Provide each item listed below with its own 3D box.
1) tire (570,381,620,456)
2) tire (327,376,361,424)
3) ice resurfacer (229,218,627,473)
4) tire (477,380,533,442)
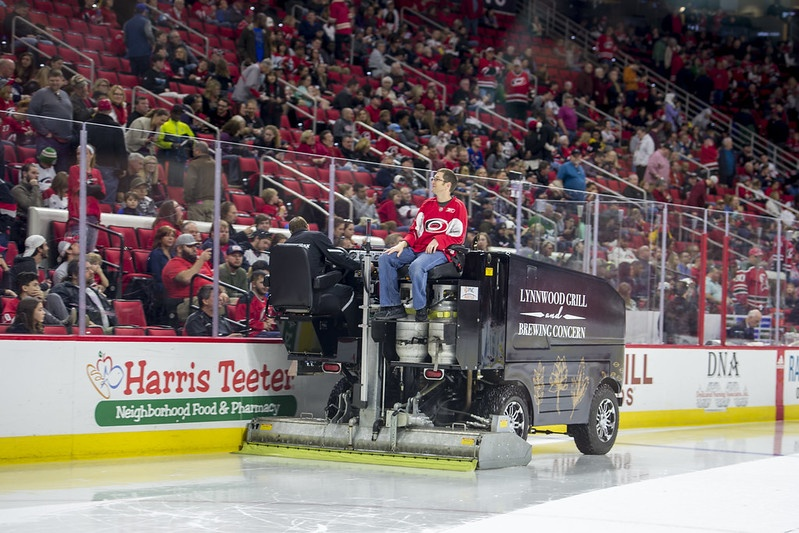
[{"bbox_3d":[3.140,2.504,23.042,0.448,1.179,1.238,3,4,37],"label":"tire"},{"bbox_3d":[-0.854,2.155,22.172,0.280,0.694,0.721,17,4,22],"label":"tire"},{"bbox_3d":[1.143,1.262,22.914,3.718,2.820,5.107,1,1,36],"label":"ice resurfacer"},{"bbox_3d":[1.571,2.238,21.763,0.303,0.820,0.863,-4,-17,41],"label":"tire"}]
